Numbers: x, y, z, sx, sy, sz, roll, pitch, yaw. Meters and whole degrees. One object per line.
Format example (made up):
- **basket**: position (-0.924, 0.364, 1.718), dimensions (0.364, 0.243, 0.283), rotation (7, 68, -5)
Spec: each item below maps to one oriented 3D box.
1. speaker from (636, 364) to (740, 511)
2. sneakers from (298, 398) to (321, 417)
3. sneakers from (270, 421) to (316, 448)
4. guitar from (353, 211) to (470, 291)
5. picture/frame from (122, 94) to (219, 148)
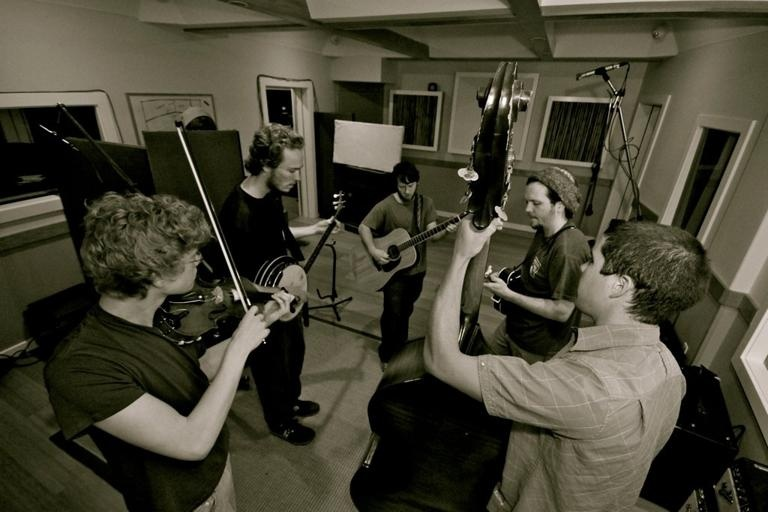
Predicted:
- **speaker**: position (2.239, 1.377, 4.131), dimensions (0.590, 1.037, 1.041), rotation (10, 25, 28)
- **sneakers**: position (-0.649, 1.389, 5.064), dimensions (0.234, 0.098, 0.099), rotation (-1, 38, 0)
- **sneakers**: position (-0.777, 1.549, 4.874), dimensions (0.401, 0.157, 0.173), rotation (5, 33, 11)
- **guitar**: position (0.178, -0.023, 5.405), dimensions (1.213, 0.496, 0.183), rotation (-28, -13, 25)
- **picture/frame**: position (-2.334, -1.549, 6.120), dimensions (0.836, 0.550, 0.015), rotation (-9, 61, -27)
